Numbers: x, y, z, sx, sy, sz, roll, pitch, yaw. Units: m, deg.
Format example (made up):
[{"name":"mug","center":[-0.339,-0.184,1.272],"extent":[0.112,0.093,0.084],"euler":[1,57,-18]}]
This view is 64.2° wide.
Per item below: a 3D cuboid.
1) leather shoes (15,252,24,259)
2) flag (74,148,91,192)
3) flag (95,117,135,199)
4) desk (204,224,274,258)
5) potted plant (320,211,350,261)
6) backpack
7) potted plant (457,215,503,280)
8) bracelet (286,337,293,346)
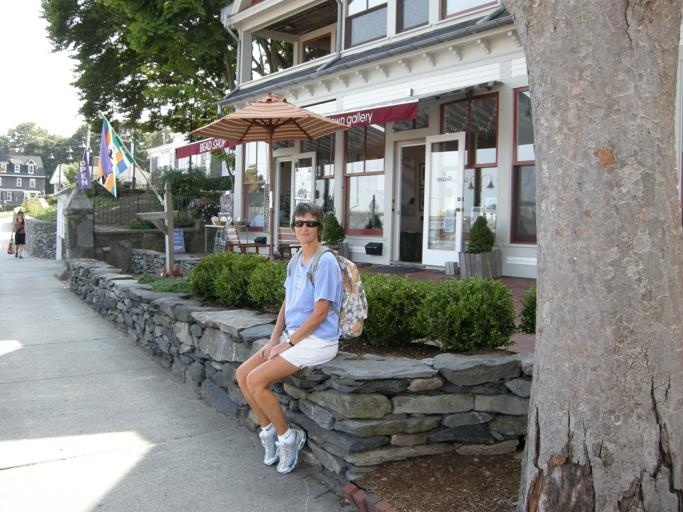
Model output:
[{"name":"leather shoes","center":[-12.831,-0.008,21.549],"extent":[0.112,0.240,0.338],"euler":[5,-24,-20]},{"name":"flag","center":[-8.221,-2.707,17.303],"extent":[0.361,1.397,4.574],"euler":[0,5,-25]},{"name":"flag","center":[-5.317,-2.378,12.692],"extent":[0.676,1.763,1.620],"euler":[0,5,-27]},{"name":"desk","center":[-2.545,-0.391,13.835],"extent":[0.912,0.914,0.679],"euler":[-1,3,-33]},{"name":"potted plant","center":[-0.196,-0.548,12.937],"extent":[0.431,1.013,0.479],"euler":[-9,1,-21]},{"name":"backpack","center":[-0.033,0.301,4.196],"extent":[0.669,0.716,0.446],"euler":[-3,5,-21]},{"name":"potted plant","center":[2.511,-0.141,9.806],"extent":[0.685,1.095,0.684],"euler":[-11,10,-37]},{"name":"bracelet","center":[-0.387,0.649,4.091],"extent":[0.056,0.054,0.039],"euler":[35,36,6]}]
